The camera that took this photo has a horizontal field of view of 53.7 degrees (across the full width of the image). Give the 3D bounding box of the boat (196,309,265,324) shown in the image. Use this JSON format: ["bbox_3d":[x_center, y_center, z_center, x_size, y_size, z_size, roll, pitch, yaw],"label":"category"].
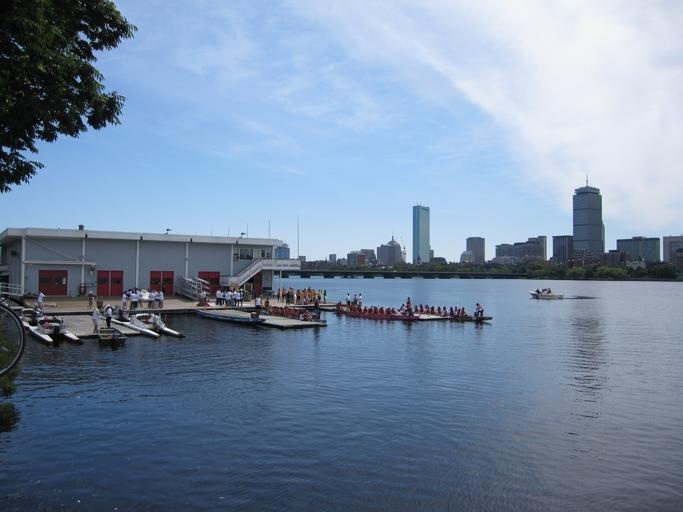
[{"bbox_3d":[-11.518,6.327,69.404,2.515,1.181,10.671,6,-2,-41],"label":"boat"}]

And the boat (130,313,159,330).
[{"bbox_3d":[-17.423,6.170,59.624,2.222,0.819,1.716,8,2,23],"label":"boat"}]

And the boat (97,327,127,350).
[{"bbox_3d":[-17.644,6.341,51.903,1.845,1.128,2.693,-8,13,-44],"label":"boat"}]
